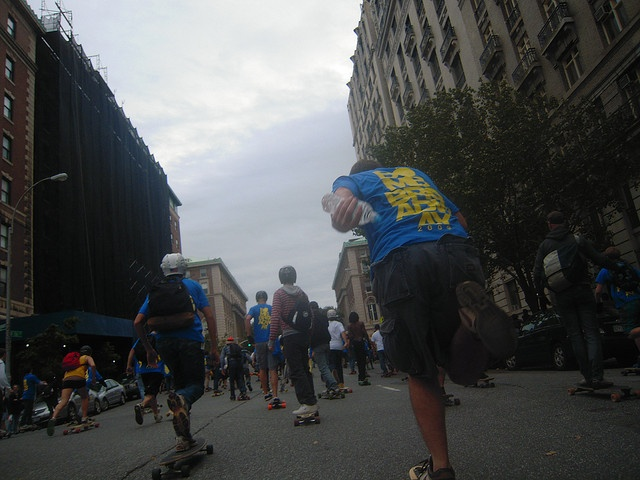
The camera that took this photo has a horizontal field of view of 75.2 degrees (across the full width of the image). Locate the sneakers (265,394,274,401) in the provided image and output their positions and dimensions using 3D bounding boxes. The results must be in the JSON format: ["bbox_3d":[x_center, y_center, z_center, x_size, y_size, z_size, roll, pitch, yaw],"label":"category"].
[{"bbox_3d":[-1.156,3.676,9.564,0.120,0.149,0.329,1,-20,-17],"label":"sneakers"}]

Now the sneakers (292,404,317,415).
[{"bbox_3d":[-0.216,2.431,5.884,0.352,0.178,0.131,1,-21,-4],"label":"sneakers"}]

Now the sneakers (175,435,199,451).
[{"bbox_3d":[-1.312,2.021,4.120,0.105,0.131,0.272,-2,-14,9],"label":"sneakers"}]

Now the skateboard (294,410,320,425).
[{"bbox_3d":[-0.178,2.533,5.755,0.352,0.155,0.212,-12,-16,-2],"label":"skateboard"}]

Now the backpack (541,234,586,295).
[{"bbox_3d":[3.205,0.339,5.484,0.320,0.639,0.476,17,-32,-11],"label":"backpack"}]

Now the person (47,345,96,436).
[{"bbox_3d":[-5.561,3.428,9.481,0.720,1.850,1.440,-12,-15,6],"label":"person"}]

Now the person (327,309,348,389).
[{"bbox_3d":[0.423,2.986,11.180,0.543,1.949,0.504,-9,-13,37],"label":"person"}]

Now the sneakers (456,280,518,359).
[{"bbox_3d":[0.920,0.459,2.405,0.221,0.506,0.212,-30,-17,2],"label":"sneakers"}]

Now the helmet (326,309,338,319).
[{"bbox_3d":[0.382,2.308,12.708,0.223,0.257,0.317,-1,-19,-6],"label":"helmet"}]

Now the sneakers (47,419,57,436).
[{"bbox_3d":[-5.600,3.989,8.739,0.090,0.302,0.391,2,-21,-38],"label":"sneakers"}]

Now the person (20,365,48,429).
[{"bbox_3d":[-9.079,5.075,13.362,0.584,1.856,0.583,-7,-9,26],"label":"person"}]

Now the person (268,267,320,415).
[{"bbox_3d":[-0.435,1.541,6.520,0.758,2.412,1.050,-9,-15,-5],"label":"person"}]

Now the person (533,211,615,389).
[{"bbox_3d":[3.364,0.746,5.508,0.854,2.377,0.518,-19,-17,29],"label":"person"}]

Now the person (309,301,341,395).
[{"bbox_3d":[-0.081,2.274,8.614,0.726,2.015,0.609,10,-18,-35],"label":"person"}]

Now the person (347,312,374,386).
[{"bbox_3d":[1.203,3.413,12.930,0.686,2.338,0.695,-5,5,25],"label":"person"}]

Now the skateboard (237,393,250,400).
[{"bbox_3d":[-2.228,4.701,12.331,0.276,0.199,0.484,3,-17,-4],"label":"skateboard"}]

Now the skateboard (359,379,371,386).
[{"bbox_3d":[1.329,4.191,12.099,0.143,0.215,0.463,-7,-12,29],"label":"skateboard"}]

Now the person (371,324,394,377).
[{"bbox_3d":[2.314,4.297,15.955,0.624,1.923,0.648,-14,-17,16],"label":"person"}]

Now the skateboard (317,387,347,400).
[{"bbox_3d":[0.264,3.349,8.858,0.579,0.259,0.344,-7,-34,11],"label":"skateboard"}]

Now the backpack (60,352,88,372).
[{"bbox_3d":[-5.746,2.896,9.704,0.342,0.543,0.517,-4,-17,0],"label":"backpack"}]
